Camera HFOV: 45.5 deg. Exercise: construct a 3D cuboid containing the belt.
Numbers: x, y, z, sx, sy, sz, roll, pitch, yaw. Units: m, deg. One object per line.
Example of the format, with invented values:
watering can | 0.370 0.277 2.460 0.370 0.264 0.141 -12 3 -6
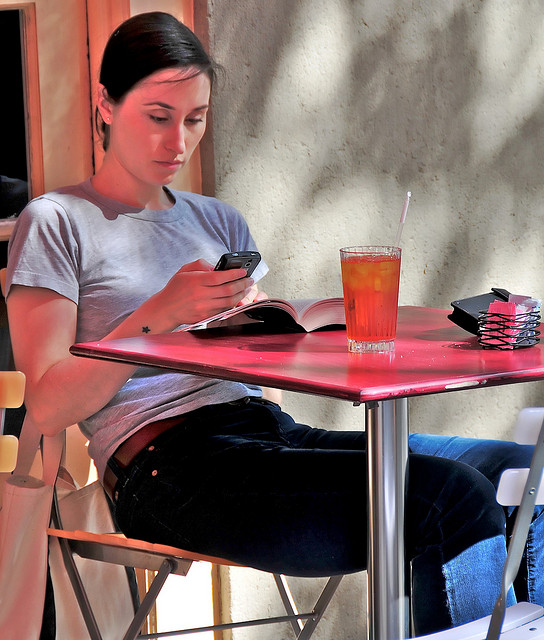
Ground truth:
belt | -0.200 0.186 0.952 0.125 0.031 0.128 -33 -1 -39
